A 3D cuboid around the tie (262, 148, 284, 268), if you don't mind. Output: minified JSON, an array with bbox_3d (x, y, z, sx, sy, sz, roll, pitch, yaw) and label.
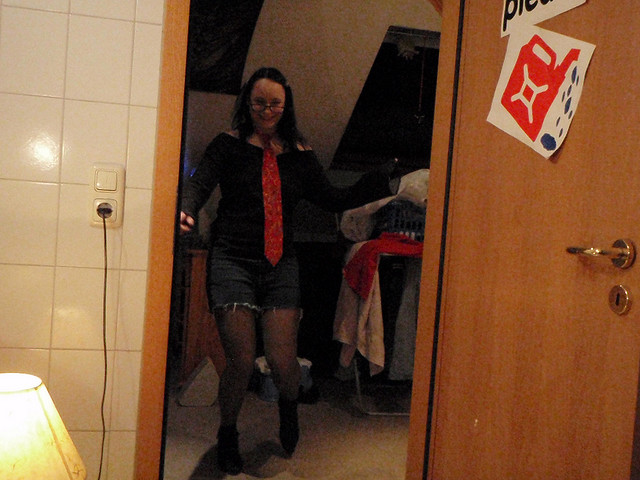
[{"bbox_3d":[-0.213,-0.142,2.463,0.088,0.496,0.166,0,10,-14],"label":"tie"}]

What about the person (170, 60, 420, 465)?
[{"bbox_3d":[-0.193,0.097,2.428,1.015,1.750,0.714,1,-1,-22],"label":"person"}]

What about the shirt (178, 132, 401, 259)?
[{"bbox_3d":[-0.217,-0.212,2.578,0.962,0.598,0.544,11,-10,-15],"label":"shirt"}]

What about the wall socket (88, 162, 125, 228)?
[{"bbox_3d":[-0.685,-0.144,1.809,0.111,0.245,0.028,1,32,-25],"label":"wall socket"}]

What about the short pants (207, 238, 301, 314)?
[{"bbox_3d":[-0.297,0.243,2.495,0.390,0.297,0.361,14,39,-20],"label":"short pants"}]
